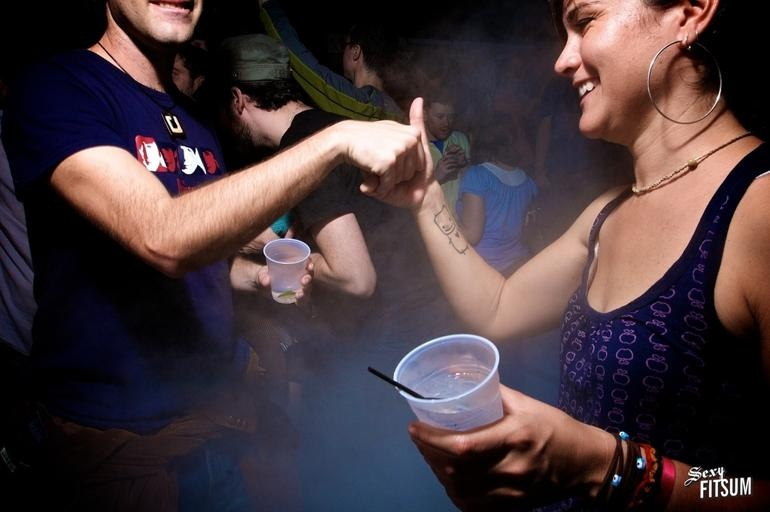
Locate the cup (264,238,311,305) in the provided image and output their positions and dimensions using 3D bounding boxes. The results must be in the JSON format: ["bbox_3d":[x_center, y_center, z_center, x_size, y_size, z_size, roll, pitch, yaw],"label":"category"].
[{"bbox_3d":[-0.500,0.047,3.046,0.290,0.309,0.290,1,33,-1],"label":"cup"}]

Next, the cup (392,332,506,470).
[{"bbox_3d":[0.216,0.428,1.915,0.339,0.191,0.332,2,58,-3],"label":"cup"}]

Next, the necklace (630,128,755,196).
[{"bbox_3d":[1.087,-0.314,2.152,0.072,0.530,0.131,45,50,3],"label":"necklace"}]
